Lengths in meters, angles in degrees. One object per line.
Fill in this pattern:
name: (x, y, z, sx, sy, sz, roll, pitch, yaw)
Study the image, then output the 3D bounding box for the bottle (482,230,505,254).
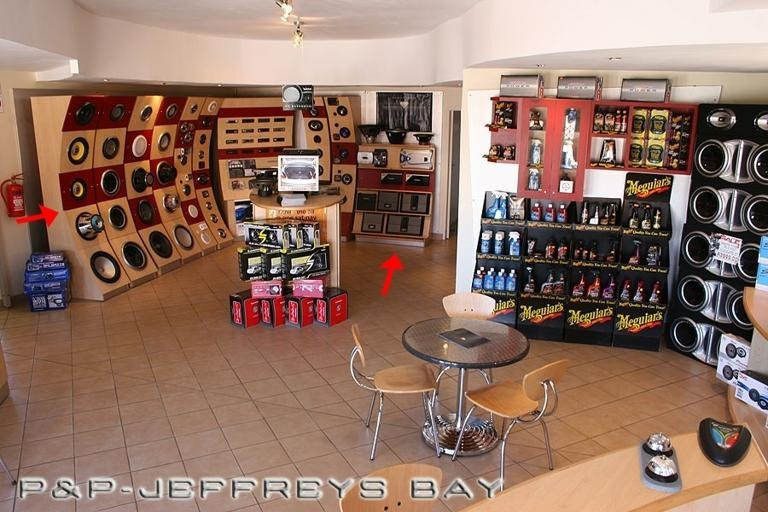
bottle: (1.598, -0.214, 7.019, 0.308, 0.382, 0.142, 6, 15, 21)

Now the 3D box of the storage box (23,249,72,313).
storage box: (-5.453, 0.411, 7.854, 0.603, 0.885, 0.376, -9, 16, -28)

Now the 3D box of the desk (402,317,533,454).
desk: (0.841, 1.416, 5.118, 1.269, 0.998, 1.282, 6, 6, 34)

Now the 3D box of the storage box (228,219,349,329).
storage box: (-1.436, 0.315, 7.396, 1.785, 1.507, 0.660, 0, 23, -1)

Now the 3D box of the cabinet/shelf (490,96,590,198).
cabinet/shelf: (2.366, -1.588, 6.895, 0.528, 1.390, 1.501, -20, 27, -31)

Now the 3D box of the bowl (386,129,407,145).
bowl: (0.303, -2.816, 11.179, 0.385, 0.236, 0.390, -1, 23, 1)

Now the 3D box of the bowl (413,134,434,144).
bowl: (0.940, -2.750, 11.113, 0.419, 0.188, 0.223, 1, 21, 4)

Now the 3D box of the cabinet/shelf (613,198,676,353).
cabinet/shelf: (3.603, 0.460, 6.909, 0.707, 1.730, 0.585, 8, -12, 7)

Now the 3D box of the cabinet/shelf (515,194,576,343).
cabinet/shelf: (2.304, 0.166, 6.941, 0.768, 1.847, 0.480, 5, 17, 24)

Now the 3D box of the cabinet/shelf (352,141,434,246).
cabinet/shelf: (0.287, -1.526, 11.303, 2.367, 2.578, 1.198, 3, 9, 13)

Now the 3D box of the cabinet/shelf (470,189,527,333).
cabinet/shelf: (1.672, 0.026, 7.005, 0.793, 1.964, 0.529, 5, 28, 8)

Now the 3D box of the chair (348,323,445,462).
chair: (0.155, 1.394, 5.049, 0.952, 1.161, 0.809, -1, 6, -12)

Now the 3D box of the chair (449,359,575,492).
chair: (1.261, 1.549, 4.779, 0.793, 1.198, 0.865, -3, 8, -34)

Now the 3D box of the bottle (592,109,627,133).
bottle: (3.015, -1.814, 6.416, 0.332, 0.273, 0.109, 5, 17, 18)

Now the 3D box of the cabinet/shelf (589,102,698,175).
cabinet/shelf: (3.501, -1.607, 6.399, 0.949, 0.611, 0.280, 5, 17, 11)

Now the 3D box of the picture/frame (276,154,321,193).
picture/frame: (-1.389, -1.288, 7.498, 0.727, 0.560, 0.351, -5, 15, -37)

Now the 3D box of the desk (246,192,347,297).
desk: (-1.309, -0.319, 7.947, 1.541, 1.583, 1.445, 3, 11, 13)

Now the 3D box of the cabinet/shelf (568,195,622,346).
cabinet/shelf: (2.980, 0.193, 6.800, 0.727, 1.815, 0.453, 2, 14, 26)
